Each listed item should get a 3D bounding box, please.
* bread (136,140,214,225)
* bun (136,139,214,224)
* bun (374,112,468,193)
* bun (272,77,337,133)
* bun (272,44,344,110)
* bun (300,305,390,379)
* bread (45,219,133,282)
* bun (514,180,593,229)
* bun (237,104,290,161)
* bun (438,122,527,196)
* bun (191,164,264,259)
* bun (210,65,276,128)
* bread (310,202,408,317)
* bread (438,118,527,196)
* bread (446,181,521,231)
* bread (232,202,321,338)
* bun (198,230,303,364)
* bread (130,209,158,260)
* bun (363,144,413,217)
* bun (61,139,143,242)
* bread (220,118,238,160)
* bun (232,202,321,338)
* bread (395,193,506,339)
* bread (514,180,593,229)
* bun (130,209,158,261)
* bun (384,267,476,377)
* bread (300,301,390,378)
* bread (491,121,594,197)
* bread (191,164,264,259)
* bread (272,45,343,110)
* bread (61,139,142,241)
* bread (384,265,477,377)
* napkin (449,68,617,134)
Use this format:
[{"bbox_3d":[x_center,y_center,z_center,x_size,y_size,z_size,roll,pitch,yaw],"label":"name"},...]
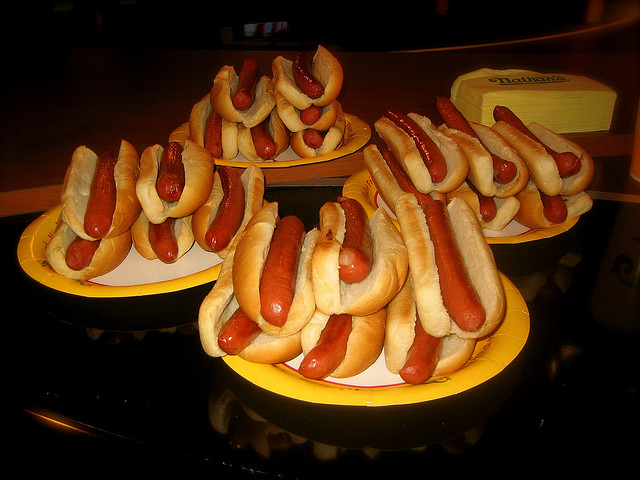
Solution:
[{"bbox_3d":[-0.589,-0.288,2.117,0.216,0.126,0.396,-4,46,-5],"label":"bread"},{"bbox_3d":[-0.582,-0.285,2.184,0.239,0.129,0.439,-34,44,25],"label":"bun"},{"bbox_3d":[0.472,-0.420,2.502,0.285,0.175,0.563,4,39,-24],"label":"bun"},{"bbox_3d":[-0.080,-0.876,3.017,0.379,0.204,0.593,-18,27,-2],"label":"bun"},{"bbox_3d":[-0.074,-0.908,2.854,0.361,0.248,0.457,-5,36,-4],"label":"bun"},{"bbox_3d":[0.079,0.349,1.678,0.162,0.098,0.323,14,30,28],"label":"bun"},{"bbox_3d":[-0.910,0.046,2.021,0.285,0.136,0.252,-2,36,0],"label":"bread"},{"bbox_3d":[1.000,-0.106,2.280,0.269,0.284,0.106,8,85,16],"label":"bun"},{"bbox_3d":[-0.312,-0.560,2.813,0.187,0.103,0.372,-5,45,-6],"label":"bun"},{"bbox_3d":[0.770,-0.444,2.411,0.504,0.153,0.262,4,33,13],"label":"bun"},{"bbox_3d":[-0.348,-0.164,2.185,0.238,0.141,0.450,9,47,25],"label":"bun"},{"bbox_3d":[-0.417,-0.770,2.779,0.301,0.163,0.406,3,46,-7],"label":"bun"},{"bbox_3d":[0.150,0.037,1.936,0.342,0.208,0.651,1,29,5],"label":"bread"},{"bbox_3d":[0.749,-0.363,2.345,0.200,0.137,0.420,-23,48,2],"label":"bread"},{"bbox_3d":[0.759,-0.146,2.276,0.214,0.279,0.110,9,56,13],"label":"bread"},{"bbox_3d":[-0.149,0.102,1.850,0.304,0.162,0.517,14,40,-12],"label":"bread"},{"bbox_3d":[-0.235,0.177,1.780,0.226,0.119,0.418,19,49,-2],"label":"bun"},{"bbox_3d":[-0.720,-0.011,2.083,0.104,0.060,0.218,-11,54,-6],"label":"bread"},{"bbox_3d":[0.303,-0.293,2.463,0.093,0.128,0.447,14,36,-24],"label":"bun"},{"bbox_3d":[-0.881,-0.211,2.139,0.256,0.155,0.489,-1,52,-8],"label":"bun"},{"bbox_3d":[-0.487,-0.565,2.804,0.113,0.266,0.085,9,47,-4],"label":"bread"},{"bbox_3d":[-0.170,0.088,1.850,0.302,0.164,0.541,15,43,-19],"label":"bun"},{"bbox_3d":[0.505,0.035,1.912,0.361,0.215,0.717,-19,38,11],"label":"bread"},{"bbox_3d":[0.970,-0.150,2.156,0.234,0.091,0.246,-3,51,-1],"label":"bread"},{"bbox_3d":[-0.727,-0.010,2.155,0.104,0.058,0.216,-24,58,6],"label":"bun"},{"bbox_3d":[0.342,0.319,1.658,0.199,0.121,0.407,-3,69,-12],"label":"bun"},{"bbox_3d":[0.108,0.357,1.758,0.170,0.100,0.336,24,38,25],"label":"bread"},{"bbox_3d":[0.956,-0.374,2.359,0.558,0.195,0.300,13,14,-13],"label":"bread"},{"bbox_3d":[-0.379,-0.140,2.125,0.127,0.221,0.431,17,49,-23],"label":"bread"},{"bbox_3d":[-0.004,-0.951,2.963,0.330,0.184,0.458,-21,-5,16],"label":"bread"},{"bbox_3d":[-1.030,-0.183,2.249,0.205,0.671,0.384,23,66,-25],"label":"bread"},{"bbox_3d":[0.331,0.318,1.664,0.214,0.118,0.421,-3,71,-6],"label":"bread"},{"bbox_3d":[1.233,-0.785,3.032,0.660,0.226,0.526,0,30,1],"label":"napkin"}]
